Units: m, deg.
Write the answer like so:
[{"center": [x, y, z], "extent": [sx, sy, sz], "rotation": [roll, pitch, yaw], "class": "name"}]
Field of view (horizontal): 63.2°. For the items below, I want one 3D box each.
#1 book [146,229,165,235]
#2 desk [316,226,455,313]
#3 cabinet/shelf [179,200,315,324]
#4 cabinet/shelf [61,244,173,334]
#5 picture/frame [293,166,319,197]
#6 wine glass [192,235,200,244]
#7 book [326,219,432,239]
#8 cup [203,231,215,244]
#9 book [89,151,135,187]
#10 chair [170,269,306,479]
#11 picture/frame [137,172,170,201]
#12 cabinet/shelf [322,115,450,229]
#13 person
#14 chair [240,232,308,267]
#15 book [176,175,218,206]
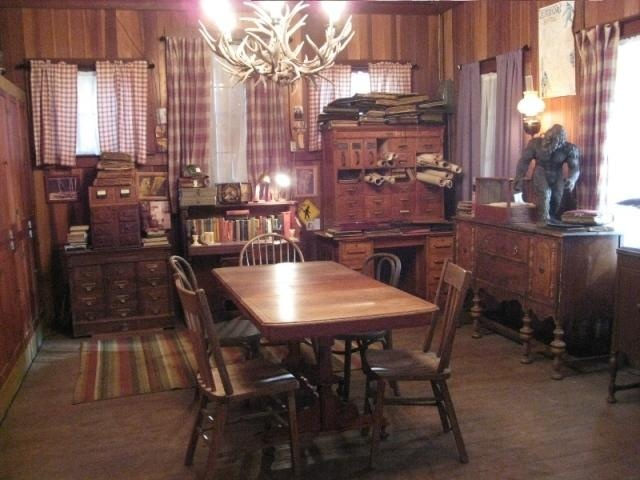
[{"center": [-1.865, -0.095, 5.892], "extent": [0.184, 0.061, 0.193], "rotation": [-8, 12, -19], "class": "book"}, {"center": [0.737, 0.435, 6.349], "extent": [1.721, 1.113, 0.834], "rotation": [-1, 4, -12], "class": "desk"}, {"center": [-0.733, 0.152, 4.886], "extent": [1.364, 1.303, 0.493], "rotation": [-2, 5, -20], "class": "cabinet/shelf"}, {"center": [-2.186, 0.509, 5.629], "extent": [0.934, 0.799, 0.403], "rotation": [-3, 5, -15], "class": "cabinet/shelf"}, {"center": [-0.188, -0.737, 6.440], "extent": [0.388, 0.429, 0.034], "rotation": [-1, 6, -17], "class": "picture/frame"}, {"center": [-1.390, -0.004, 5.821], "extent": [0.086, 0.092, 0.091], "rotation": [1, 7, 4], "class": "wine glass"}, {"center": [0.718, -0.129, 6.021], "extent": [1.273, 0.151, 0.241], "rotation": [-5, 12, -5], "class": "book"}, {"center": [-1.239, -0.014, 5.802], "extent": [0.139, 0.131, 0.090], "rotation": [-4, 8, -36], "class": "cup"}, {"center": [-2.249, -0.772, 5.713], "extent": [0.436, 0.267, 0.422], "rotation": [-2, 9, -14], "class": "book"}, {"center": [-0.574, 0.805, 3.368], "extent": [0.736, 1.260, 1.014], "rotation": [-8, 13, -16], "class": "chair"}, {"center": [-1.956, -0.632, 6.059], "extent": [0.370, 0.365, 0.026], "rotation": [0, 2, -19], "class": "picture/frame"}, {"center": [0.768, -0.820, 6.170], "extent": [1.360, 1.112, 0.514], "rotation": [-1, 4, -11], "class": "cabinet/shelf"}, {"center": [2.142, -0.613, 4.823], "extent": [0.486, 0.885, 0.480], "rotation": [-8, 13, -17], "class": "person"}, {"center": [-0.555, 0.115, 5.726], "extent": [0.528, 0.619, 0.432], "rotation": [-3, 4, -26], "class": "chair"}, {"center": [-1.365, -0.526, 5.749], "extent": [0.365, 0.264, 0.363], "rotation": [-2, 3, -26], "class": "book"}]
